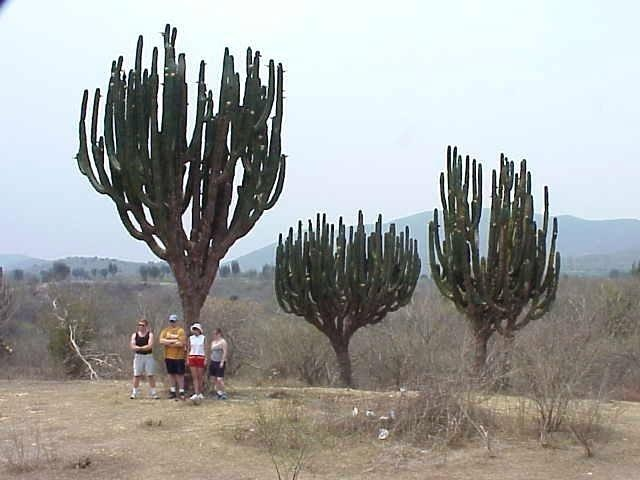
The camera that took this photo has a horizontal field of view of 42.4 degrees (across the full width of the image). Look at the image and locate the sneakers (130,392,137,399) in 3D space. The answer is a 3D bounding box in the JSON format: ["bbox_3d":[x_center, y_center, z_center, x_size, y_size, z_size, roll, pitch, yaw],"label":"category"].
[{"bbox_3d":[-4.529,3.742,20.069,0.153,0.182,0.101,-11,-11,35],"label":"sneakers"}]

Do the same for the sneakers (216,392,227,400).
[{"bbox_3d":[-2.392,3.718,20.012,0.215,0.305,0.145,0,0,0],"label":"sneakers"}]

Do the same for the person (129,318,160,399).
[{"bbox_3d":[-4.349,2.856,20.252,0.696,1.997,1.370,-3,4,-14],"label":"person"}]

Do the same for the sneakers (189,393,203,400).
[{"bbox_3d":[-2.994,3.714,19.871,0.286,0.152,0.138,2,-7,9],"label":"sneakers"}]
